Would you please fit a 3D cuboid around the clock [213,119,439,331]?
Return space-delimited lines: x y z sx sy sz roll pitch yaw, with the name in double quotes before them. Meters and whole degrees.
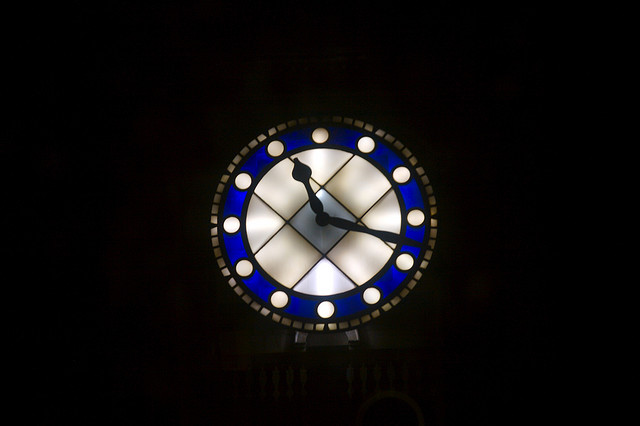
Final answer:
"clock" 0.037 0.042 4.794 1.337 0.205 1.259 18 76 1
